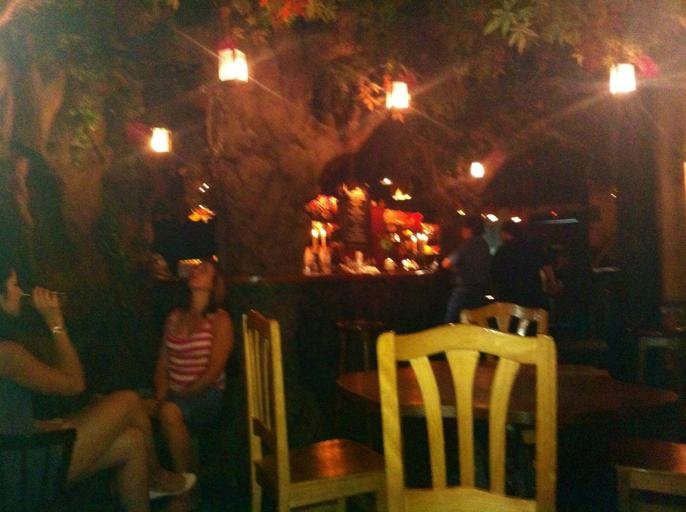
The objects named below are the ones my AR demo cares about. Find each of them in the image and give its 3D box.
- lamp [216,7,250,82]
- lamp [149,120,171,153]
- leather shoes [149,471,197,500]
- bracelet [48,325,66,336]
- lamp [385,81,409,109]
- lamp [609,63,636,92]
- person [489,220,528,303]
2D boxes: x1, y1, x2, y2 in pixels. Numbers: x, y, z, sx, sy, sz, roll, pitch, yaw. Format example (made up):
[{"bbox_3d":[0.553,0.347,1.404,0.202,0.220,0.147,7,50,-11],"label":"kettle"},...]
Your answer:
[{"bbox_3d":[-1.031,-1.930,5.959,0.313,0.691,0.397,2,-12,-10],"label":"lamp"},{"bbox_3d":[-1.755,-1.116,6.085,0.208,0.235,0.199,3,-12,-16],"label":"lamp"},{"bbox_3d":[-1.181,1.635,4.530,0.380,0.142,0.136,-5,-1,-13],"label":"leather shoes"},{"bbox_3d":[-1.869,0.485,4.141,0.064,0.047,0.062,12,-12,-34],"label":"bracelet"},{"bbox_3d":[0.588,-1.665,6.637,0.261,0.263,0.107,3,5,19],"label":"lamp"},{"bbox_3d":[2.674,-1.715,6.119,0.161,0.304,0.232,4,-12,-17],"label":"lamp"},{"bbox_3d":[1.769,0.071,6.869,0.356,0.943,0.690,-2,-12,13],"label":"person"}]
